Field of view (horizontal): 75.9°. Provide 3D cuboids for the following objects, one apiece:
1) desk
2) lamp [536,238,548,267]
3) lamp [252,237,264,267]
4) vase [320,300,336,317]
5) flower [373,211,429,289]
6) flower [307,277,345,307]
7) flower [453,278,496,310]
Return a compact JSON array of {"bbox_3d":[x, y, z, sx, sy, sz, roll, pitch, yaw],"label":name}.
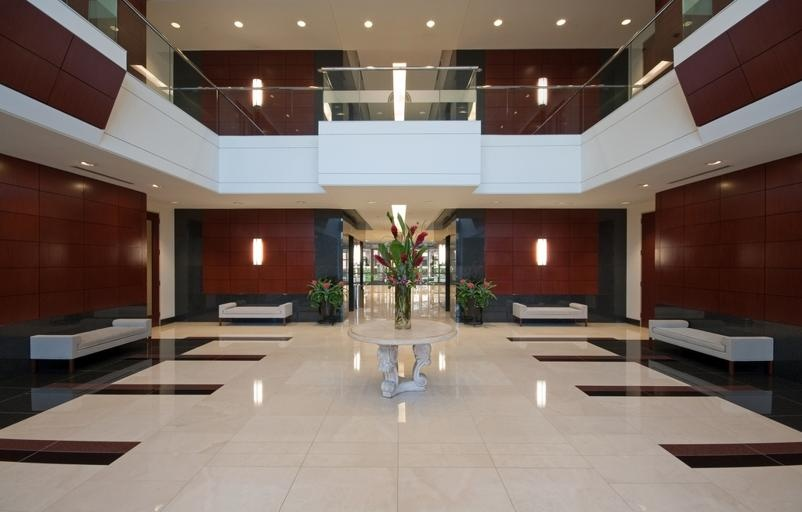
[{"bbox_3d":[0.043,1.917,10.505,1.727,0.923,1.675,1,-3,-6],"label":"desk"},{"bbox_3d":[4.561,-0.143,16.461,0.358,0.881,0.115,0,-5,7],"label":"lamp"},{"bbox_3d":[-4.587,-0.143,16.465,0.379,0.880,0.109,-1,-5,12],"label":"lamp"},{"bbox_3d":[-2.259,1.663,16.114,0.480,0.388,0.522,1,0,5],"label":"vase"},{"bbox_3d":[0.035,-0.153,10.741,0.922,1.596,2.339,0,-5,0],"label":"flower"},{"bbox_3d":[-2.368,1.131,16.238,1.000,0.662,0.972,-1,-2,5],"label":"flower"},{"bbox_3d":[2.306,1.157,15.863,1.056,0.724,1.030,0,-4,4],"label":"flower"}]
